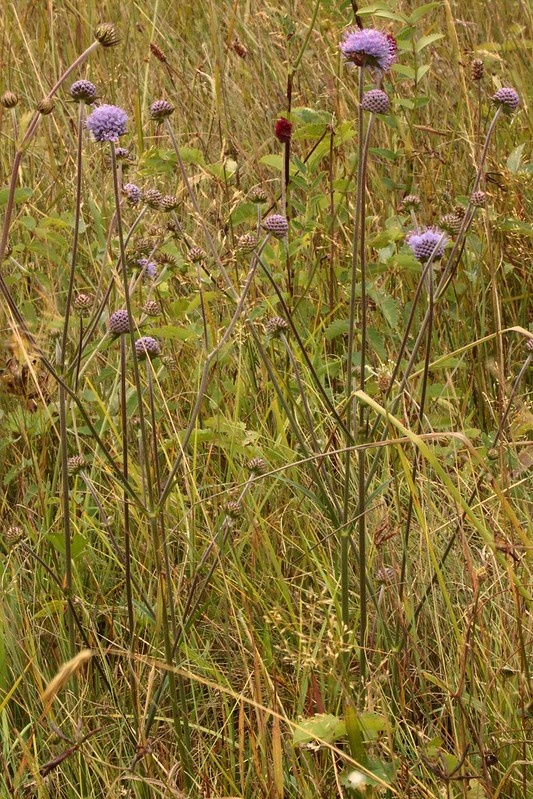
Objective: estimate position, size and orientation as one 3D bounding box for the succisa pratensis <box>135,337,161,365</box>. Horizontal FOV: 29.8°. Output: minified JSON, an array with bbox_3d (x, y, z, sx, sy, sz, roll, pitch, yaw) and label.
[{"bbox_3d":[-0.277,-0.120,2.266,0.063,0.086,0.059,-3,6,-40],"label":"succisa pratensis"}]

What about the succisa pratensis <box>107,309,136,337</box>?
[{"bbox_3d":[-0.291,-0.145,2.008,0.047,0.075,0.064,-2,-3,7],"label":"succisa pratensis"}]
